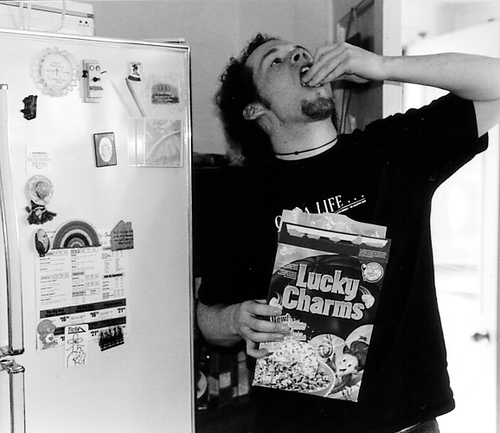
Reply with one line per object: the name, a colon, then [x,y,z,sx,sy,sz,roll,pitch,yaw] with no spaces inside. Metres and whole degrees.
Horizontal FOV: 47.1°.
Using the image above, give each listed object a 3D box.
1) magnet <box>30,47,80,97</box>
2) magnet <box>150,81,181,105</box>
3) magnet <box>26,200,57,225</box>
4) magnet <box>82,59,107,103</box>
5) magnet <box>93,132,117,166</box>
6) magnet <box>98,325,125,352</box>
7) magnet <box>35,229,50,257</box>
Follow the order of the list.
magnet: [-0.543,-0.404,1.595,0.115,0.132,0.087,-3,10,-39]
magnet: [-0.259,-0.373,1.714,0.068,0.055,0.010,0,-4,-14]
magnet: [-0.591,-0.013,1.598,0.060,0.056,0.024,36,-20,-14]
magnet: [-0.446,-0.387,1.635,0.066,0.119,0.012,-3,6,-18]
magnet: [-0.419,-0.193,1.661,0.058,0.104,0.012,-9,-16,-6]
magnet: [-0.403,0.365,1.651,0.062,0.076,0.016,-4,8,-27]
magnet: [-0.582,0.071,1.602,0.041,0.067,0.014,-4,2,-38]
